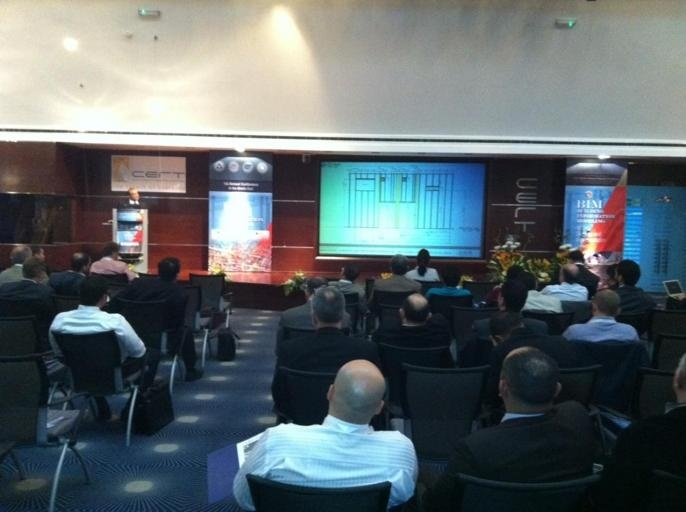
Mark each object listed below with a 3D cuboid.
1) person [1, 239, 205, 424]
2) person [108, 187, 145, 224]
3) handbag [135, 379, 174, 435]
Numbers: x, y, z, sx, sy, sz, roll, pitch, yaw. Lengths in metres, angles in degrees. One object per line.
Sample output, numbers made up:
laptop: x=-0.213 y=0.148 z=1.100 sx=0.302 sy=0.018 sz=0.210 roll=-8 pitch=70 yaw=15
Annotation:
person: x=-2.318 y=0.753 z=5.775 sx=1.598 sy=1.052 sz=0.598 roll=8 pitch=24 yaw=9
person: x=-4.348 y=-1.019 z=11.766 sx=0.750 sy=0.710 sz=0.527 roll=0 pitch=1 yaw=-16
handbag: x=-1.697 y=1.363 z=5.270 sx=0.243 sy=0.420 sz=0.462 roll=-9 pitch=-4 yaw=18
